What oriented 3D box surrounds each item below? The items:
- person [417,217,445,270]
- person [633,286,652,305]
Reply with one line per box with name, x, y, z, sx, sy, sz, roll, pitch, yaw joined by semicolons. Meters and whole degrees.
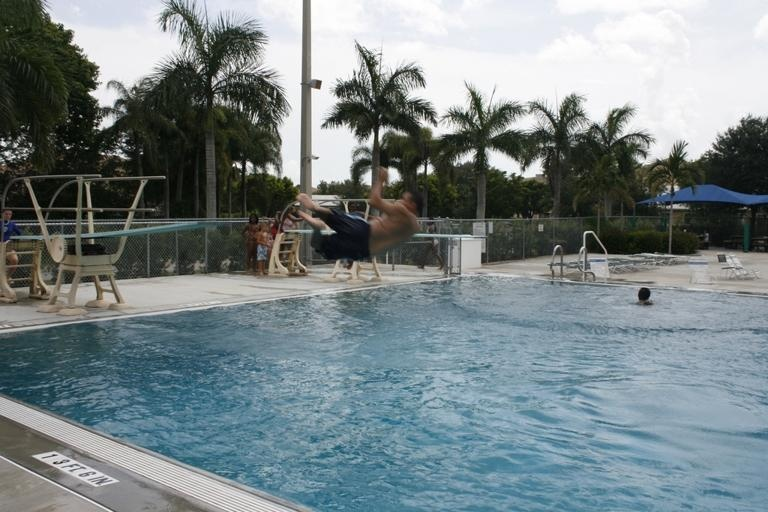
person;1.816;-0.561;23.425;1.162;2.429;0.760;4;29;10
person;6.995;1.051;15.944;0.393;0.418;0.907;7;12;23
